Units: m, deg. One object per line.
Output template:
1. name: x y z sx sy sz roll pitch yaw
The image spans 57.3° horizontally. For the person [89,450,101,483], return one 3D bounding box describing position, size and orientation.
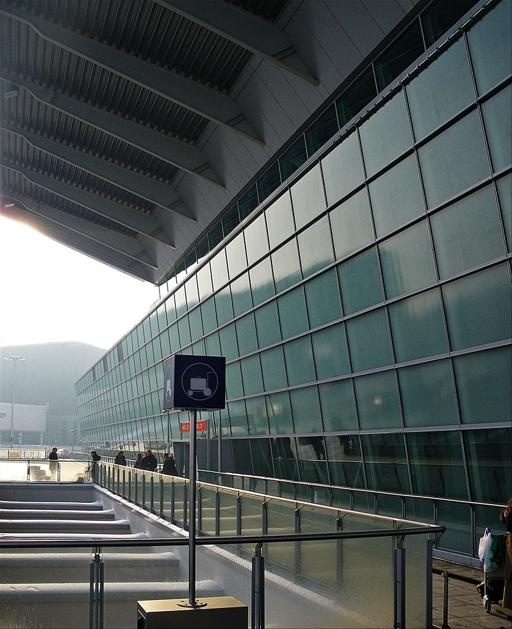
1. person: -8.131 7.652 23.587 0.423 1.493 3.030 2 -15 -19
